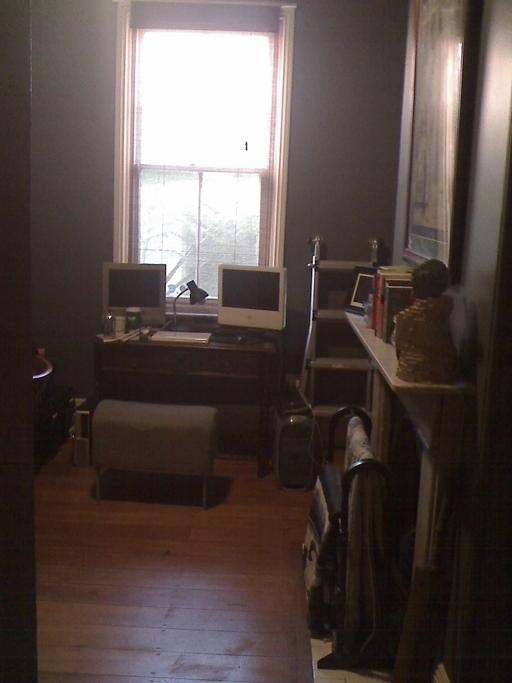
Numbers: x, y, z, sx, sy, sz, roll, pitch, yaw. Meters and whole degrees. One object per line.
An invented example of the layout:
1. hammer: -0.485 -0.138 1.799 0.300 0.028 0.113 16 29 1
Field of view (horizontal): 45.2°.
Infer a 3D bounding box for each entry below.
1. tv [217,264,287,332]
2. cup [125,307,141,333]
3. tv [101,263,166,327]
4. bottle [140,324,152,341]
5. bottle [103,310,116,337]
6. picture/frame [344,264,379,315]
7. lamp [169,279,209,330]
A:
1. tv: -0.019 -0.176 2.378 0.278 0.236 0.055 6 10 26
2. cup: -0.480 -0.088 2.411 0.061 0.126 0.072 1 6 7
3. tv: -0.489 -0.193 2.432 0.194 0.256 0.078 0 0 -3
4. bottle: -0.424 -0.036 2.355 0.046 0.070 0.157 0 3 -8
5. bottle: -0.570 -0.072 2.378 0.043 0.075 0.127 -1 11 -13
6. picture/frame: 0.321 -0.160 1.861 0.030 0.131 0.127 8 14 -15
7. lamp: -0.279 -0.158 2.509 0.142 0.218 0.076 -5 41 -11
